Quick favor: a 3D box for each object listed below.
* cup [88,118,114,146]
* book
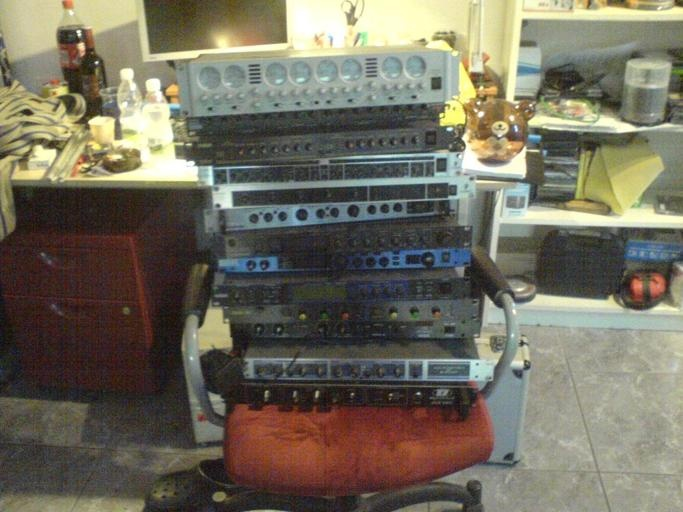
[{"bbox_3d":[-0.745,-0.402,2.061,0.096,0.076,0.088,0,20,0],"label":"cup"},{"bbox_3d":[0.865,-0.351,2.404,0.332,0.375,0.120,4,20,2],"label":"book"}]
